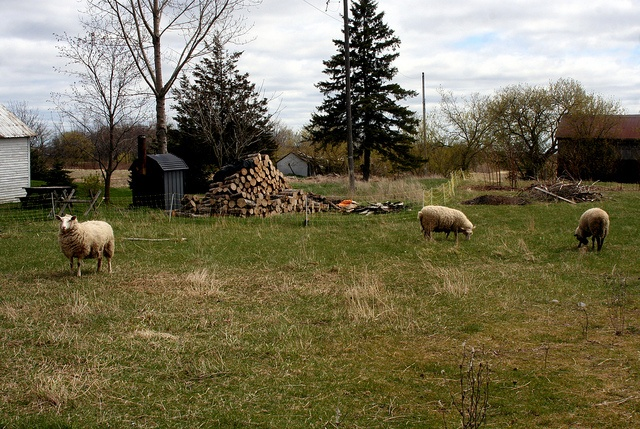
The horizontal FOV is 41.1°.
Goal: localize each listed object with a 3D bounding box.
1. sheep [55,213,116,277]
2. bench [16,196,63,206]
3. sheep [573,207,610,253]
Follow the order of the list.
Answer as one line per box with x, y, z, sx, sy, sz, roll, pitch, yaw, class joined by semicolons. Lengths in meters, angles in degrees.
-9.184;1.249;33.307;1.389;2.373;2.901;1;0;26;sheep
-14.699;-0.554;44.360;1.799;0.777;0.432;0;5;13;bench
11.255;0.702;35.301;1.015;1.669;2.383;3;-9;-8;sheep
